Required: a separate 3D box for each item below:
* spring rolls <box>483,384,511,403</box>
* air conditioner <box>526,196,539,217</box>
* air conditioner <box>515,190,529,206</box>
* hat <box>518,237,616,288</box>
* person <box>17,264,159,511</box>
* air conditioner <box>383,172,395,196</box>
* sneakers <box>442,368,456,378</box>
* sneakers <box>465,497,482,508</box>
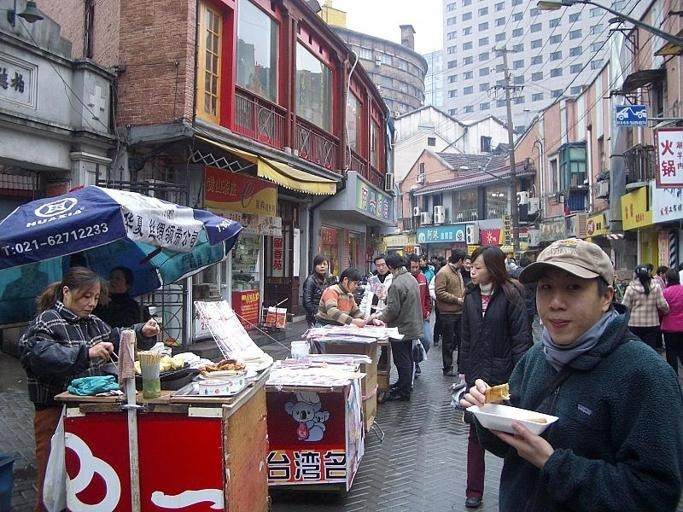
[{"bbox_3d":[0.962,0.860,4.112,0.078,0.120,0.179,17,-22,-40],"label":"spring rolls"},{"bbox_3d":[9.743,-2.609,33.103,0.630,1.222,0.769,0,2,8],"label":"air conditioner"},{"bbox_3d":[9.441,-2.993,33.929,0.607,0.834,1.103,1,-2,-8],"label":"air conditioner"},{"bbox_3d":[1.415,0.009,4.098,0.416,0.314,0.579,-2,0,32],"label":"hat"},{"bbox_3d":[-2.290,1.107,5.762,0.967,2.033,0.983,-1,4,-29],"label":"person"},{"bbox_3d":[1.846,-2.857,25.806,0.419,1.180,1.146,-1,-5,10],"label":"air conditioner"},{"bbox_3d":[1.882,2.039,11.511,0.105,0.122,0.260,-2,-17,3],"label":"sneakers"},{"bbox_3d":[1.265,2.356,6.278,0.084,0.041,0.140,0,1,9],"label":"sneakers"}]
